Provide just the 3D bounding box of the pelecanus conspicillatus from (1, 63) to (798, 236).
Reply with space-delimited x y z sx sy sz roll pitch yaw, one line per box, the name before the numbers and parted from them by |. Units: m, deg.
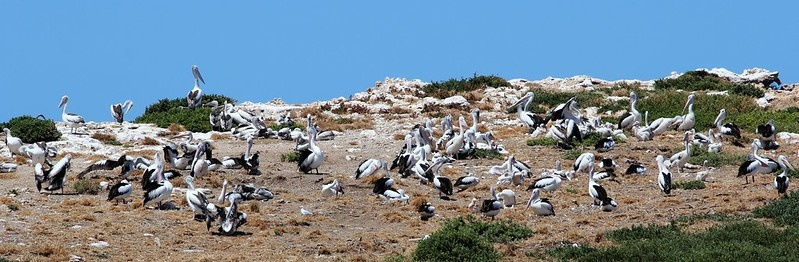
pelecanus conspicillatus | 0.987 3.328 97.514 86.583 14.370 17.971 -1 1 2
